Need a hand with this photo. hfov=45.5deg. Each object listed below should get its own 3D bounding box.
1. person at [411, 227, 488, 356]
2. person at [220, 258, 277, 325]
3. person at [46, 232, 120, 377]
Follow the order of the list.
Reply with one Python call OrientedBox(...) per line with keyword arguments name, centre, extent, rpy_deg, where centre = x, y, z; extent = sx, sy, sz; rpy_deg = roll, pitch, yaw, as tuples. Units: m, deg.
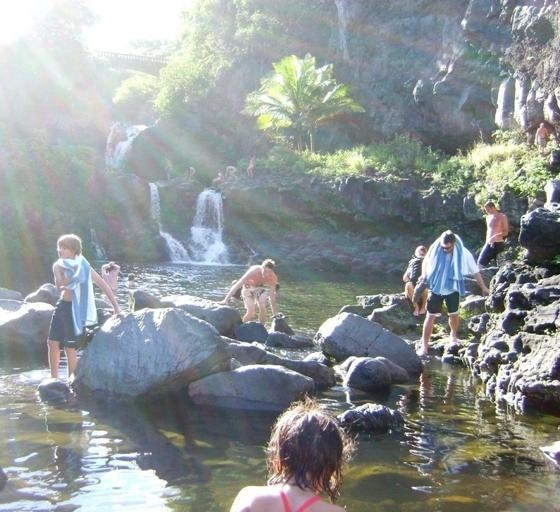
OrientedBox(name="person", centre=(2.553, 0.535, 10.181), extent=(1.017, 1.919, 0.534), rpy_deg=(6, 9, 21))
OrientedBox(name="person", centre=(-0.433, 0.639, 11.647), extent=(0.733, 1.076, 1.078), rpy_deg=(-4, -4, 1))
OrientedBox(name="person", centre=(-2.442, 0.744, 8.298), extent=(0.725, 2.060, 0.605), rpy_deg=(8, 13, -8))
